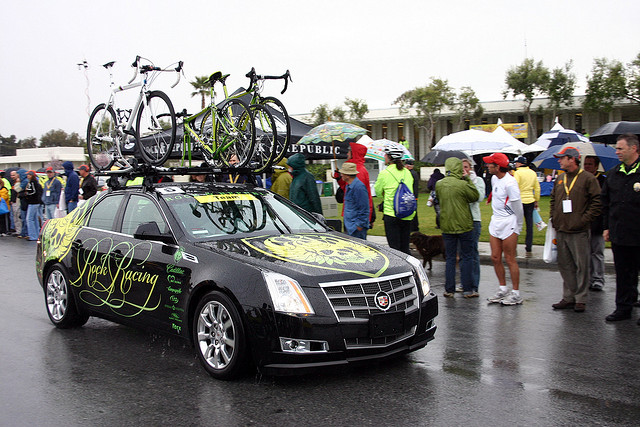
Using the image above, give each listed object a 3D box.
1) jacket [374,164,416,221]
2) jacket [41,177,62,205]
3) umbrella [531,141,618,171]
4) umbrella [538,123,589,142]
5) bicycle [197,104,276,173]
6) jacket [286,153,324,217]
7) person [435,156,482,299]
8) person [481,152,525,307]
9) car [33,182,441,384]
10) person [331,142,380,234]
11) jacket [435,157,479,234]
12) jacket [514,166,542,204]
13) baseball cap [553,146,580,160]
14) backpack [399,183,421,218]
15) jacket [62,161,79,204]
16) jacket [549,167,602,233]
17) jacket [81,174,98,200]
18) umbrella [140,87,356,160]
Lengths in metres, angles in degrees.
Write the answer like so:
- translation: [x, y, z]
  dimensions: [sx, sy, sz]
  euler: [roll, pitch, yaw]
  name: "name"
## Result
- translation: [1.479, -0.475, 9.708]
  dimensions: [0.758, 1.049, 0.497]
  euler: [0, 6, 6]
  name: "jacket"
- translation: [-9.423, -0.800, 17.011]
  dimensions: [0.918, 0.882, 0.498]
  euler: [19, 15, 36]
  name: "jacket"
- translation: [7.375, -1.716, 13.563]
  dimensions: [2.296, 0.672, 2.218]
  euler: [3, 4, 25]
  name: "umbrella"
- translation: [11.255, -3.796, 22.471]
  dimensions: [1.224, 1.040, 5.940]
  euler: [1, 5, 20]
  name: "umbrella"
- translation: [-1.142, -1.180, 7.590]
  dimensions: [1.306, 1.126, 0.256]
  euler: [8, -7, 44]
  name: "bicycle"
- translation: [-0.328, -0.523, 9.236]
  dimensions: [0.560, 1.230, 1.040]
  euler: [-1, 0, -19]
  name: "jacket"
- translation: [2.528, 0.256, 8.893]
  dimensions: [0.754, 2.578, 0.533]
  euler: [-3, 6, -25]
  name: "person"
- translation: [3.191, 0.260, 8.389]
  dimensions: [0.648, 2.634, 0.521]
  euler: [2, 6, 24]
  name: "person"
- translation: [-1.620, 0.694, 7.334]
  dimensions: [6.339, 1.908, 2.938]
  euler: [3, 3, 43]
  name: "car"
- translation: [0.749, -0.349, 10.145]
  dimensions: [0.941, 2.240, 0.705]
  euler: [-2, 22, -1]
  name: "person"
- translation: [2.537, -0.258, 8.903]
  dimensions: [0.616, 1.552, 0.578]
  euler: [1, 4, 33]
  name: "jacket"
- translation: [5.337, -0.739, 12.521]
  dimensions: [0.417, 0.944, 1.252]
  euler: [3, 6, 35]
  name: "jacket"
- translation: [4.177, -1.034, 8.152]
  dimensions: [0.354, 0.163, 0.206]
  euler: [1, 1, 18]
  name: "baseball cap"
- translation: [1.770, -0.180, 9.638]
  dimensions: [0.304, 0.533, 0.808]
  euler: [11, -17, 2]
  name: "backpack"
- translation: [-8.439, -1.073, 16.410]
  dimensions: [0.469, 1.463, 0.747]
  euler: [-4, 6, -27]
  name: "jacket"
- translation: [4.445, -0.208, 8.290]
  dimensions: [0.704, 1.224, 0.665]
  euler: [-1, 2, -38]
  name: "jacket"
- translation: [-7.711, -0.907, 16.112]
  dimensions: [0.445, 0.836, 0.583]
  euler: [-3, 6, -26]
  name: "jacket"
- translation: [-1.800, -1.581, 9.585]
  dimensions: [3.532, 1.212, 3.305]
  euler: [-1, 2, -4]
  name: "umbrella"
